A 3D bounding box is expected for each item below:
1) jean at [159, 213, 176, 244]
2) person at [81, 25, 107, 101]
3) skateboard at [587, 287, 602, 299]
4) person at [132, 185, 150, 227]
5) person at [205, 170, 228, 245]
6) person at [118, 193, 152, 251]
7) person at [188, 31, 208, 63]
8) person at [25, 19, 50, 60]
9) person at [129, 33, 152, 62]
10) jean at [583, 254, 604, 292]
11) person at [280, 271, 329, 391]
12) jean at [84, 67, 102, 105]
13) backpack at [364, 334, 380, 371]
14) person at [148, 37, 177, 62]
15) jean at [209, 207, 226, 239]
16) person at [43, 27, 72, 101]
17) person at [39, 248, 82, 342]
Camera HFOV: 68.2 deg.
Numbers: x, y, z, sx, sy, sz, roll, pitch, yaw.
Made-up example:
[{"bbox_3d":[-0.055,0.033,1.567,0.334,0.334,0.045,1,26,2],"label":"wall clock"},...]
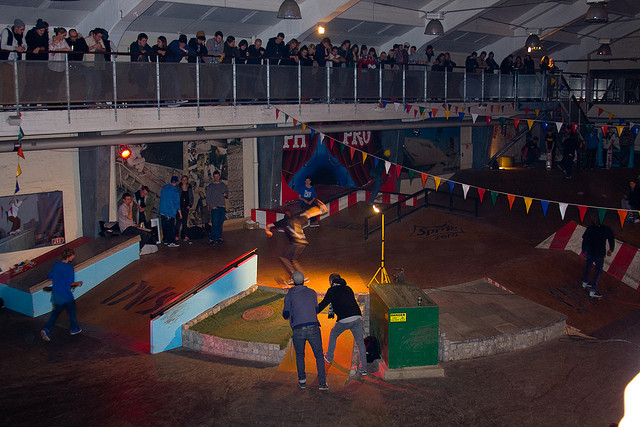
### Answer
[{"bbox_3d":[-5.427,0.555,16.939,0.478,1.113,0.637,-2,7,-19],"label":"jean"},{"bbox_3d":[-6.788,-4.520,14.269,0.701,2.297,1.506,-3,7,-23],"label":"person"},{"bbox_3d":[8.134,2.363,14.003,0.464,0.244,0.163,-5,12,-19],"label":"skateboard"},{"bbox_3d":[-6.475,-0.114,17.256,0.678,2.024,0.649,-3,31,-27],"label":"person"},{"bbox_3d":[-3.747,-0.190,17.259,0.760,2.635,0.701,-2,6,-13],"label":"person"},{"bbox_3d":[-6.174,0.279,15.672,0.949,1.940,0.674,-3,7,-22],"label":"person"},{"bbox_3d":[-4.152,-5.627,16.064,0.620,1.197,1.139,-2,7,-15],"label":"person"},{"bbox_3d":[-8.123,-4.929,13.712,0.553,1.316,1.332,-6,31,-36],"label":"person"},{"bbox_3d":[-5.708,-5.212,15.039,0.663,0.998,1.386,-3,7,-19],"label":"person"},{"bbox_3d":[8.091,1.731,14.090,0.466,1.151,0.744,3,7,29],"label":"jean"},{"bbox_3d":[-0.272,2.485,10.121,1.022,2.444,0.668,2,7,18],"label":"person"},{"bbox_3d":[-6.729,-3.850,14.058,0.484,0.901,0.038,-4,7,-31],"label":"jean"},{"bbox_3d":[1.211,3.244,11.005,0.403,0.582,0.199,-3,-9,-34],"label":"backpack"},{"bbox_3d":[-5.141,-5.327,15.394,0.792,0.911,1.444,-3,7,-23],"label":"person"},{"bbox_3d":[-3.766,0.359,17.360,0.539,1.178,0.229,-3,7,-21],"label":"jean"},{"bbox_3d":[-7.697,-4.407,13.937,0.646,2.263,1.290,-2,7,-19],"label":"person"},{"bbox_3d":[-6.547,2.046,11.980,0.921,2.356,0.839,-6,9,-44],"label":"person"}]
